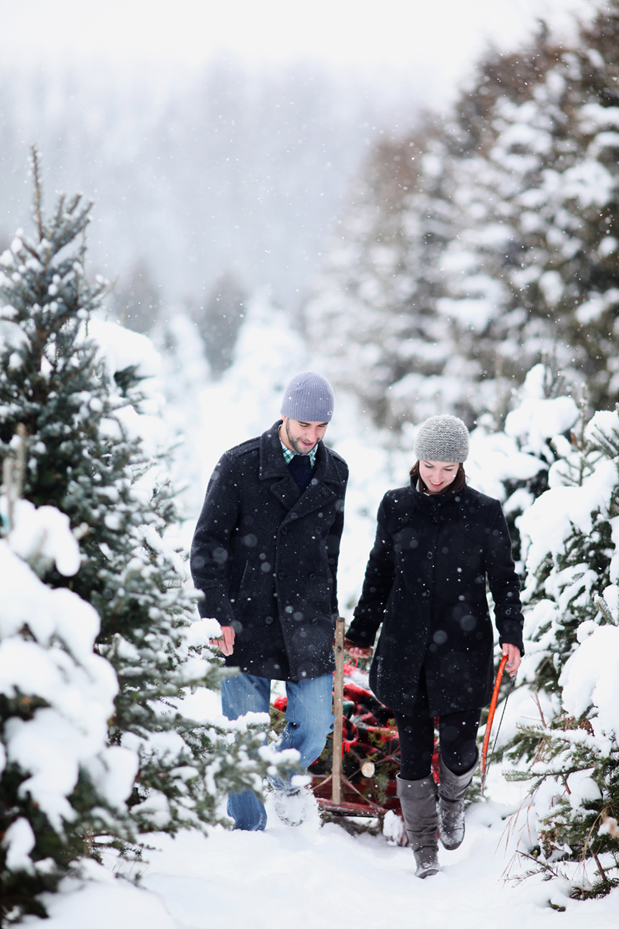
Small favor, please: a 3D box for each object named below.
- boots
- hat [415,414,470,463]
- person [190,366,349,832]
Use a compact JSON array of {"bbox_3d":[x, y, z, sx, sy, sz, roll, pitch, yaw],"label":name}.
[{"bbox_3d":[0.597,1.704,7.383,0.410,0.715,0.504,-2,-4,-6],"label":"boots"},{"bbox_3d":[0.633,-0.120,7.263,0.212,0.196,0.233,3,2,0],"label":"hat"},{"bbox_3d":[-0.152,0.523,7.293,0.772,1.818,0.720,-7,-9,1],"label":"person"}]
